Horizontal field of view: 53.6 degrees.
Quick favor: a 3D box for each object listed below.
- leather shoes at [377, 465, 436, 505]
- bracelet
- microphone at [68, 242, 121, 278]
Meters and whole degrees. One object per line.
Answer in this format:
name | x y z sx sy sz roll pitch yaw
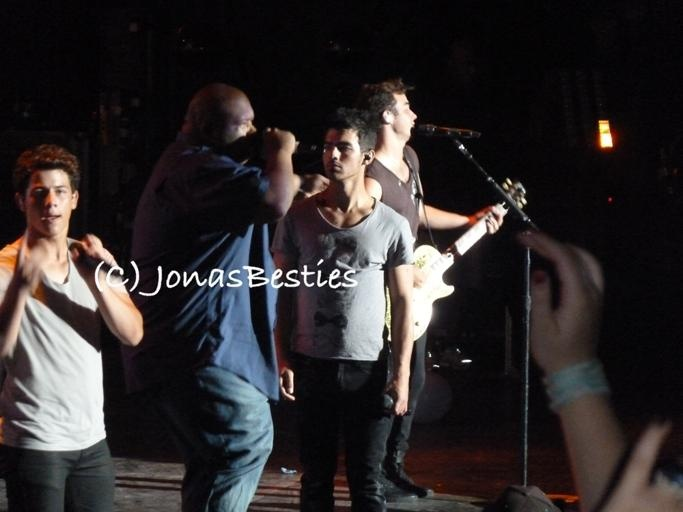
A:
leather shoes | 0.315 1.166 3.447 0.365 0.212 0.120 0 -3 -11
bracelet | 0.431 0.230 1.230 0.081 0.046 0.104 -36 46 -26
microphone | -0.771 0.026 2.171 0.180 0.069 0.080 41 19 -35
